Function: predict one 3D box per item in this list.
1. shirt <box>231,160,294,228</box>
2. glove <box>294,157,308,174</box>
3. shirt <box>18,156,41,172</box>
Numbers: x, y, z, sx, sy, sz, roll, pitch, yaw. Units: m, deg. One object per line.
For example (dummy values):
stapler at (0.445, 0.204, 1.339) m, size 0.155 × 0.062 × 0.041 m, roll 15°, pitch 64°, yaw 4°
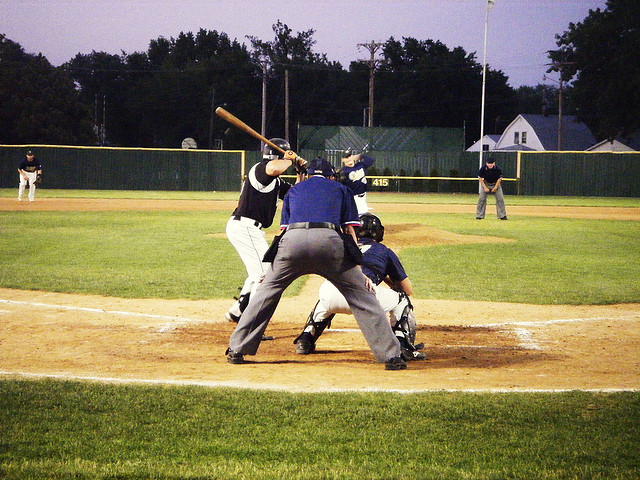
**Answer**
shirt at (-0.909, -0.690, 15.223) m, size 0.708 × 1.195 × 0.729 m, roll -5°, pitch 12°, yaw -25°
glove at (-0.292, -1.107, 14.689) m, size 0.187 × 0.240 × 0.438 m, roll 2°, pitch 3°, yaw -2°
shirt at (-9.455, -2.430, 31.998) m, size 0.809 × 0.633 × 0.415 m, roll 1°, pitch 18°, yaw -27°
